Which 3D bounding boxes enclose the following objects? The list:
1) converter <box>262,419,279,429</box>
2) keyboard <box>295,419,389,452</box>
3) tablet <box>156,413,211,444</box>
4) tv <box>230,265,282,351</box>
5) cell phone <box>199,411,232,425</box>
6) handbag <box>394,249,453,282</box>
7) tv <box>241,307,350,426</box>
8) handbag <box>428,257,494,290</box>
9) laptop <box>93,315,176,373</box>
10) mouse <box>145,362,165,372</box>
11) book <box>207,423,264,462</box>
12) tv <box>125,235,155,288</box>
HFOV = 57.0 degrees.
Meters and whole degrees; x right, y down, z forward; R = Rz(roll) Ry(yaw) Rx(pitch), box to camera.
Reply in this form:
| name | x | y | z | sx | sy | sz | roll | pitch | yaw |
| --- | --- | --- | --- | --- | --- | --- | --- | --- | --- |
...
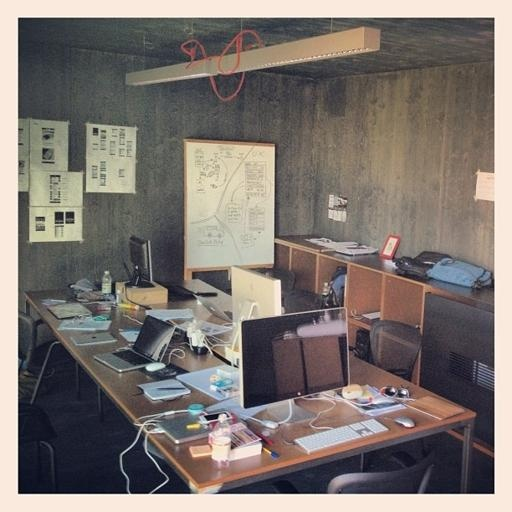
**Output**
| name | x | y | z | sx | sy | sz | roll | pitch | yaw |
| --- | --- | --- | --- | --- | --- | --- | --- | --- | --- |
| converter | 0.065 | 0.747 | 2.106 | 0.075 | 0.025 | 0.051 | 5 | 9 | 12 |
| keyboard | 0.375 | 0.770 | 2.049 | 0.455 | 0.022 | 0.141 | -2 | 10 | -27 |
| tablet | -0.300 | 0.734 | 2.025 | 0.188 | 0.028 | 0.205 | -4 | 11 | -36 |
| tv | -0.005 | 0.282 | 2.477 | 0.169 | 0.398 | 0.457 | -7 | 11 | -31 |
| cell phone | -0.178 | 0.709 | 2.092 | 0.133 | 0.021 | 0.070 | -4 | 10 | -28 |
| handbag | 1.512 | 0.069 | 4.418 | 0.351 | 0.118 | 0.339 | -11 | 14 | -32 |
| tv | 0.188 | 0.526 | 2.206 | 0.518 | 0.360 | 0.037 | -5 | 7 | -26 |
| handbag | 1.729 | 0.146 | 4.035 | 0.294 | 0.101 | 0.310 | -13 | 18 | -43 |
| laptop | -0.685 | 0.533 | 2.787 | 0.334 | 0.191 | 0.324 | -1 | 9 | -39 |
| mouse | -0.551 | 0.603 | 2.583 | 0.053 | 0.021 | 0.073 | 10 | 16 | 34 |
| book | -0.065 | 0.731 | 1.924 | 0.151 | 0.037 | 0.143 | -3 | 8 | -29 |
| tv | -1.059 | 0.038 | 4.231 | 0.244 | 0.414 | 0.439 | -4 | 11 | -32 |
